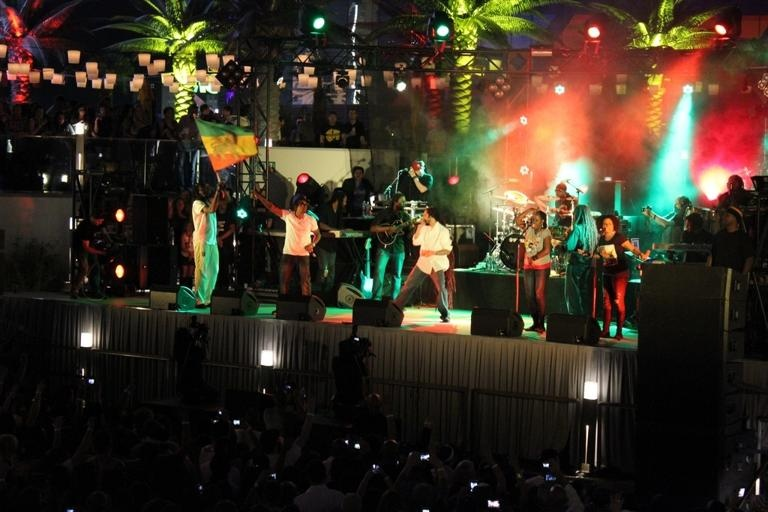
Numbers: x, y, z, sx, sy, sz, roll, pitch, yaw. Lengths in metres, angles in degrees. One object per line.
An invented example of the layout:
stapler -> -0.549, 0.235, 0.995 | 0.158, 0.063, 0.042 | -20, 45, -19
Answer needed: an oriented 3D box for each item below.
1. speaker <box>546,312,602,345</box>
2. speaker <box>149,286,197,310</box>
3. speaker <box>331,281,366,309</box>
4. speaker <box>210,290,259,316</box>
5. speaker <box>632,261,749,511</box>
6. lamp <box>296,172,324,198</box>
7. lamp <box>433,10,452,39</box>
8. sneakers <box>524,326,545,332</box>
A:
speaker -> 3.436, 1.128, 15.488 | 0.753, 0.491, 0.551 | 6, 16, 29
speaker -> -4.352, 0.783, 17.910 | 0.597, 0.391, 0.599 | -1, -1, 27
speaker -> -0.744, 0.895, 18.526 | 0.556, 0.539, 0.446 | -3, 29, 1
speaker -> -2.974, 0.961, 17.533 | 0.596, 0.387, 0.593 | -1, -2, 37
speaker -> 4.774, 2.035, 13.674 | 1.346, 3.834, 0.570 | 1, -6, 13
lamp -> -1.951, -1.821, 22.229 | 0.510, 0.235, 0.714 | -23, 52, -36
lamp -> 1.335, -5.225, 19.387 | 0.426, 0.682, 0.270 | 3, -6, 0
sneakers -> 2.935, 1.363, 16.643 | 0.389, 0.175, 0.137 | 6, 8, 32
